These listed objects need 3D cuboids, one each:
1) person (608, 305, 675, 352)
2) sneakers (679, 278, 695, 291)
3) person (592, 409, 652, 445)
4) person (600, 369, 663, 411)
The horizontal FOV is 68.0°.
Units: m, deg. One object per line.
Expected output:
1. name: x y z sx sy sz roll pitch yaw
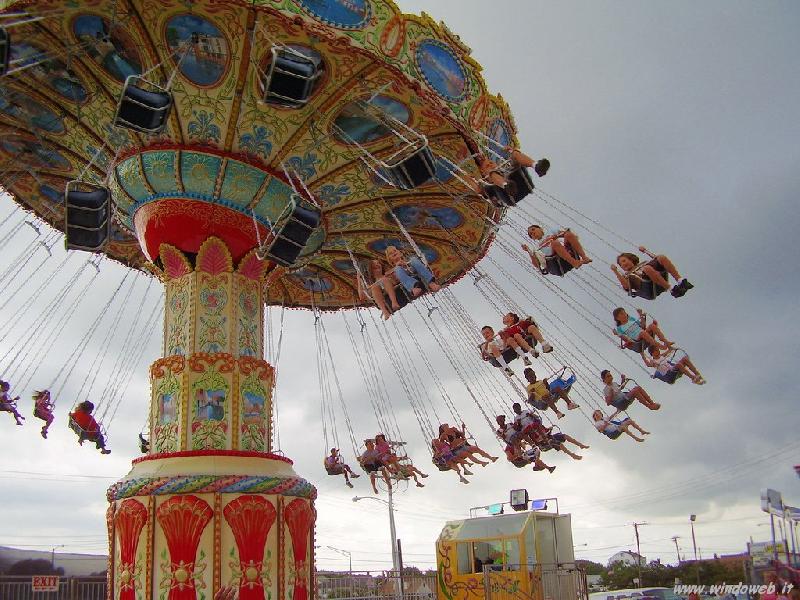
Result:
1. person: 3.644 0.519 8.915 0.559 0.683 0.975 -34 15 -37
2. sneakers: 4.539 -0.206 9.366 0.151 0.202 0.251 -22 -33 33
3. person: 4.105 2.321 11.045 0.597 0.662 0.924 1 -28 -6
4. person: 4.311 1.658 11.059 0.989 0.674 0.489 -9 9 45
